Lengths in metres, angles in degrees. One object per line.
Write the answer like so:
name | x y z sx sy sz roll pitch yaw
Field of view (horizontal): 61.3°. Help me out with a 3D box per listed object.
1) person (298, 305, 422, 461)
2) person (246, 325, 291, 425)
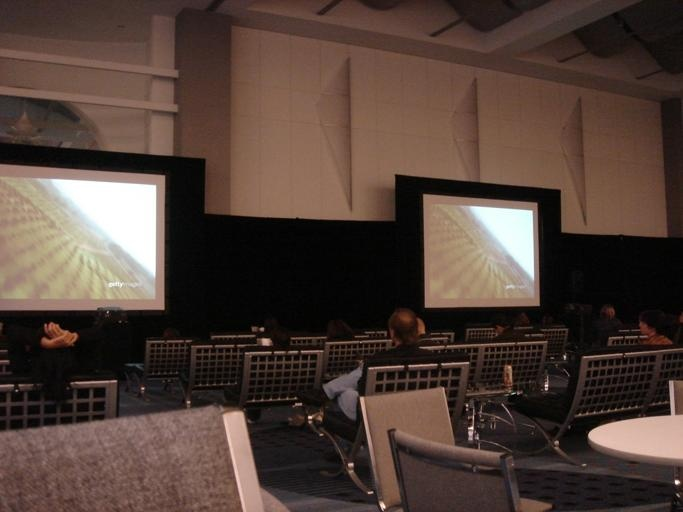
person | 0.140 0.931 4.684 0.862 1.260 1.034 4 -6 -36
person | -0.985 1.300 7.366 0.612 0.950 0.618 -16 30 -39
